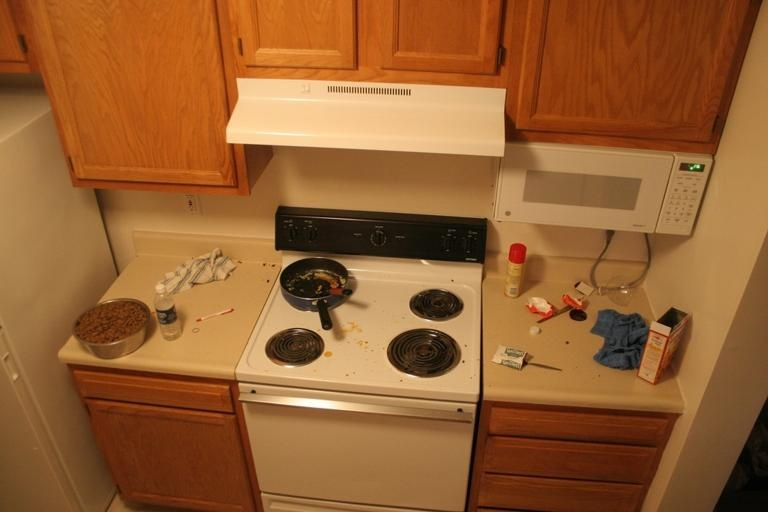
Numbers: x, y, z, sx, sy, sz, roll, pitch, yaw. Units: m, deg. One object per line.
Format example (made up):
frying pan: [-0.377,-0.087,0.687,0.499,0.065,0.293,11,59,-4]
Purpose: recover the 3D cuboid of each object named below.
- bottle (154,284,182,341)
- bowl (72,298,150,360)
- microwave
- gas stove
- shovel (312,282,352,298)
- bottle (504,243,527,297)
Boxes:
bottle: [-0.961,0.256,2.572,0.111,0.275,0.107,-7,18,2]
bowl: [-1.212,0.328,2.575,0.323,0.158,0.299,2,24,-1]
microwave: [0.932,-0.349,2.522,0.824,0.375,0.425,8,30,15]
gas stove: [-0.075,0.290,2.614,1.016,0.350,0.671,5,24,6]
shovel: [-0.250,0.142,2.659,0.139,0.019,0.083,11,29,16]
bottle: [0.637,0.046,2.776,0.096,0.262,0.182,8,25,13]
